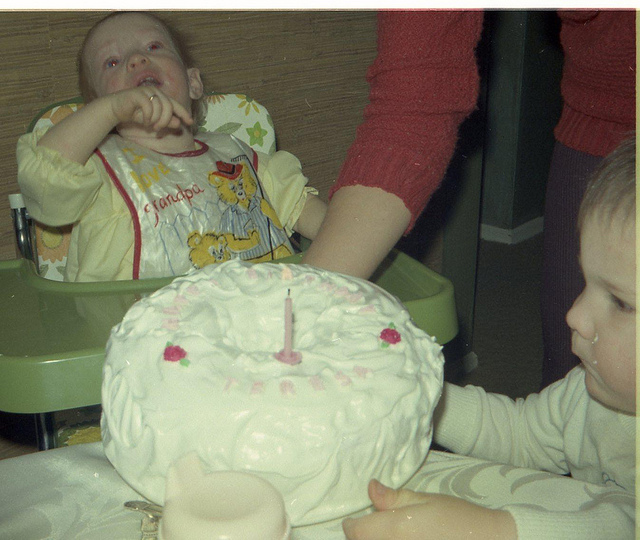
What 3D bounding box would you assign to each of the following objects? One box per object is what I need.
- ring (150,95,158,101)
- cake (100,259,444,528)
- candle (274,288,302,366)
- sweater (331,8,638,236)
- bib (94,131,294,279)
[{"bbox_3d":[-0.310,-0.315,1.162,0.009,0.002,0.009,-18,45,19],"label":"ring"},{"bbox_3d":[-0.045,0.120,0.674,0.350,0.226,0.213,-5,13,-27],"label":"cake"},{"bbox_3d":[-0.032,0.054,0.613,0.031,0.067,0.035,-5,26,-30],"label":"candle"},{"bbox_3d":[0.192,-0.234,0.897,0.329,0.349,0.105,6,8,2],"label":"sweater"},{"bbox_3d":[-0.253,-0.132,1.275,0.306,0.094,0.326,-11,67,-35],"label":"bib"}]
